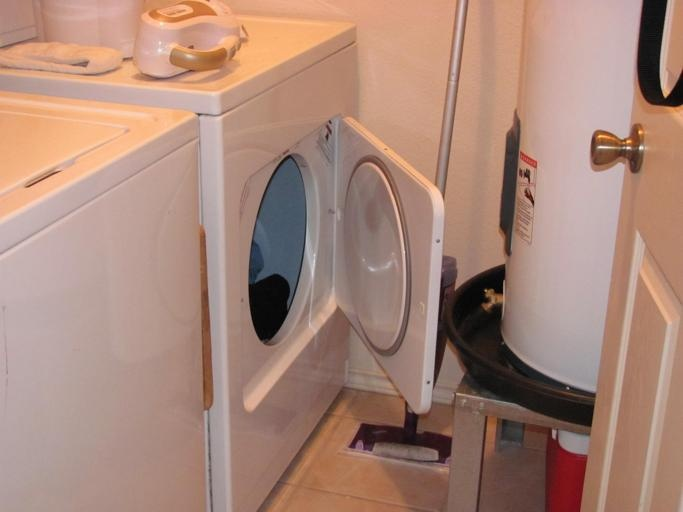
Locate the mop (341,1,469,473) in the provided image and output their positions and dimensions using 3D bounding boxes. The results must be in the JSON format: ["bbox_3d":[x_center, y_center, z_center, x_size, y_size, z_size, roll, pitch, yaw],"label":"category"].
[{"bbox_3d":[0.173,0.010,1.581,0.295,1.260,0.378,-3,25,2],"label":"mop"}]
